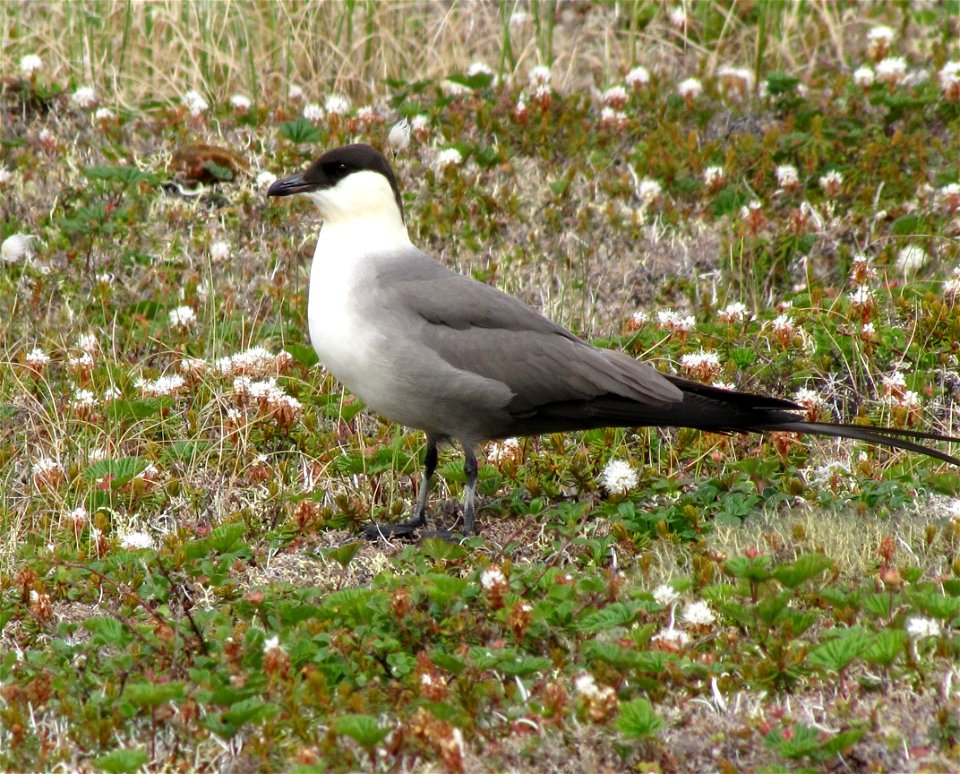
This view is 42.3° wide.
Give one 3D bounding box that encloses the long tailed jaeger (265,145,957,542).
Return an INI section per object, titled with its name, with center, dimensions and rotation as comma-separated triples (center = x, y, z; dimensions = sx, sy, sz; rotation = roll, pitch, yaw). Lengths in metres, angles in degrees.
[long tailed jaeger]
center = -0.063, -0.178, 5.716
dimensions = 2.566, 0.974, 0.967
rotation = 25, 52, 22
